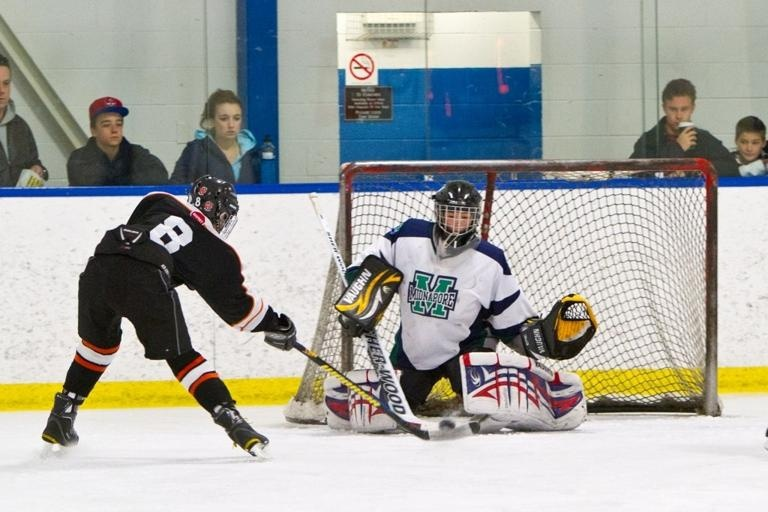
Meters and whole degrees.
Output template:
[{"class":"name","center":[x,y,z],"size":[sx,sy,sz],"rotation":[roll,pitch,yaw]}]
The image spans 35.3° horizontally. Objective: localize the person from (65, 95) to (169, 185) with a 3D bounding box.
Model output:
[{"class":"person","center":[-1.845,-0.738,8.153],"size":[0.596,0.665,0.741],"rotation":[0,-11,-20]}]

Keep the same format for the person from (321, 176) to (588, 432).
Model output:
[{"class":"person","center":[0.366,0.326,7.080],"size":[1.605,1.263,0.815],"rotation":[1,-14,6]}]

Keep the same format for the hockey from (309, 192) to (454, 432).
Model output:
[{"class":"hockey","center":[0.000,0.361,7.037],"size":[0.253,0.188,1.714],"rotation":[-2,51,-41]}]

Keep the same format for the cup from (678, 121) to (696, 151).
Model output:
[{"class":"cup","center":[2.082,-0.831,8.309],"size":[0.129,0.195,0.053],"rotation":[2,11,2]}]

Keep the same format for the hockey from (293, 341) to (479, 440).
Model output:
[{"class":"hockey","center":[0.038,0.785,6.852],"size":[0.923,0.152,0.106],"rotation":[29,-26,19]}]

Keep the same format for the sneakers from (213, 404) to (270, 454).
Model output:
[{"class":"sneakers","center":[-0.778,0.943,6.486],"size":[0.303,0.100,0.129],"rotation":[39,10,4]}]

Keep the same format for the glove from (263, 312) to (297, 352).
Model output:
[{"class":"glove","center":[-0.556,0.415,6.585],"size":[0.191,0.158,0.211],"rotation":[28,-24,-11]}]

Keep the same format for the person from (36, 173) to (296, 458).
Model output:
[{"class":"person","center":[-1.141,0.330,6.571],"size":[1.479,1.486,1.025],"rotation":[6,-5,19]}]

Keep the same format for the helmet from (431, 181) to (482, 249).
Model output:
[{"class":"helmet","center":[0.408,-0.242,6.816],"size":[0.305,0.346,0.386],"rotation":[3,-2,3]}]

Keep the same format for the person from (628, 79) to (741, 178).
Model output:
[{"class":"person","center":[2.078,-0.904,8.318],"size":[0.727,0.656,0.183],"rotation":[3,11,10]}]
